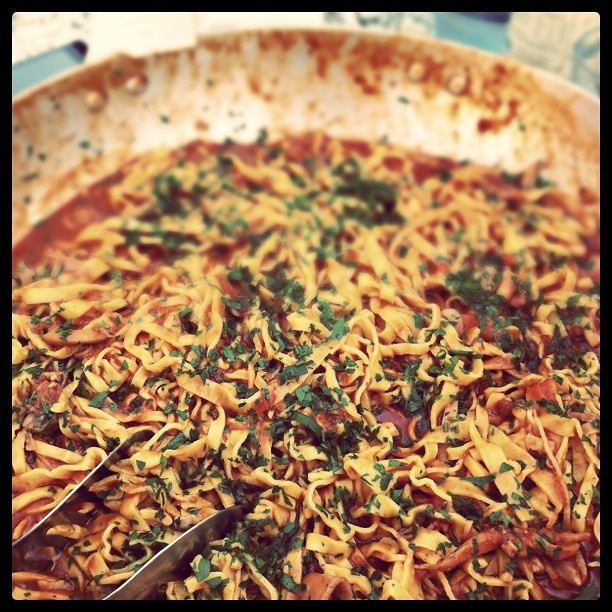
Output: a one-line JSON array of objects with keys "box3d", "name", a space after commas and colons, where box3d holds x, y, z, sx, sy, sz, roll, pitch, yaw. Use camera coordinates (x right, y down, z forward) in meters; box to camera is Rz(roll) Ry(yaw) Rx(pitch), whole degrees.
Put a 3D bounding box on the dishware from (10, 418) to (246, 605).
[{"box3d": [-0.462, 0.694, 2.068, 0.759, 0.152, 0.413, -43, 75, -7], "name": "dishware"}]
